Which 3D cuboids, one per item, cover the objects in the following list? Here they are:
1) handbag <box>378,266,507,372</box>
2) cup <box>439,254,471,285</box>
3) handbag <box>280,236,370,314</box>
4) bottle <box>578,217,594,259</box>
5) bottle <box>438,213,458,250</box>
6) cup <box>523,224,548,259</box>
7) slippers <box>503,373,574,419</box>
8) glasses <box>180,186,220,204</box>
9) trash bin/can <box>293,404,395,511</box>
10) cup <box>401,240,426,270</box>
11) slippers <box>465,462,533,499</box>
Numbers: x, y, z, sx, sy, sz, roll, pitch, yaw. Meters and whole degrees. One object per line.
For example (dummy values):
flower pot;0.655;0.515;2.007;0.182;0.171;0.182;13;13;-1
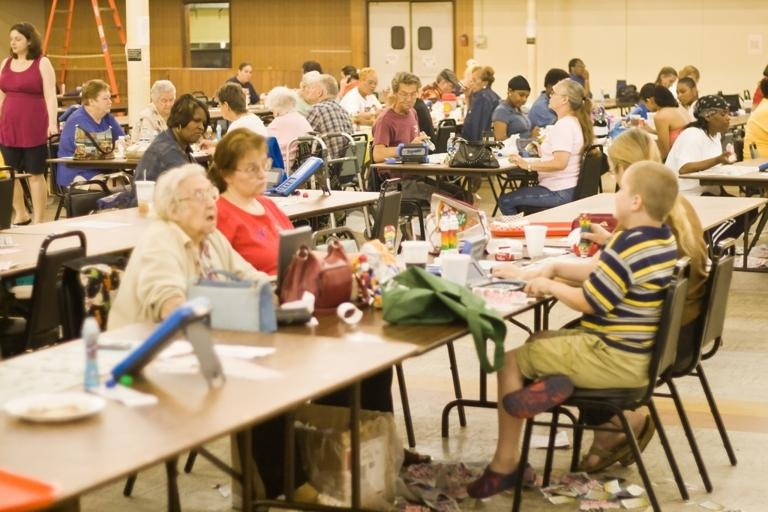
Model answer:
handbag;0.262;0.201;2.538;0.438;0.159;0.434;16;6;18
cup;0.315;0.057;2.805;0.134;0.095;0.129;0;4;0
handbag;-0.236;0.086;2.747;0.247;0.305;0.451;1;13;34
bottle;1.047;-0.102;3.340;0.070;0.203;0.089;2;14;12
bottle;0.327;-0.120;3.203;0.075;0.148;0.244;1;13;9
cup;0.813;-0.086;3.465;0.101;0.170;0.182;2;13;12
slippers;0.663;0.606;2.795;0.306;0.143;0.060;-23;-3;6
glasses;-0.774;-0.255;2.738;0.097;0.028;0.097;-8;0;29
trash bin/can;-0.149;0.877;2.758;0.472;0.462;0.407;-1;13;-3
cup;0.144;-0.009;2.937;0.124;0.088;0.120;0;-3;0
slippers;0.508;1.046;3.033;0.367;0.127;0.142;-9;2;-9
